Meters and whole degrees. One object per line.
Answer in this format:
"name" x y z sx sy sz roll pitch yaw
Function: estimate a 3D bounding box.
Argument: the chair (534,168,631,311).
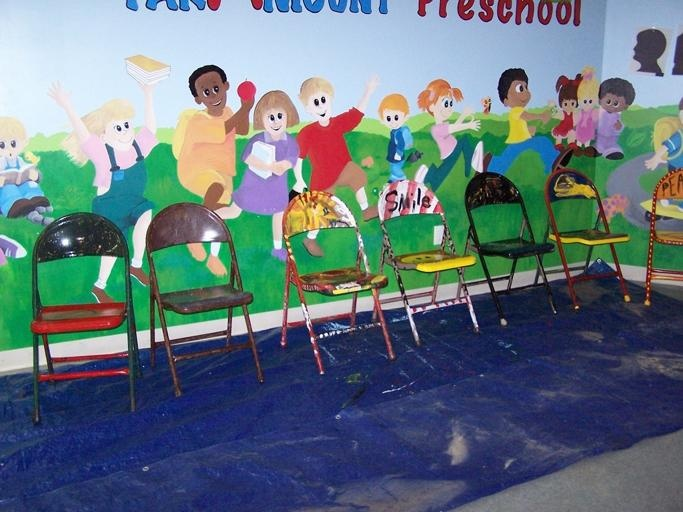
"chair" 2.316 -0.194 5.485 0.666 1.275 0.723 -7 12 -23

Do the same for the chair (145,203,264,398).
"chair" -1.002 0.266 4.115 0.681 1.269 0.859 -4 11 -25

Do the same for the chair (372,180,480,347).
"chair" 0.689 0.009 4.858 0.724 1.292 0.813 -5 11 -13

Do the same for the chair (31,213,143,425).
"chair" -1.744 0.382 3.884 0.781 1.283 0.747 -9 16 -36

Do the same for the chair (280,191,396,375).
"chair" -0.061 0.129 4.419 0.797 1.267 0.781 -9 13 -42
